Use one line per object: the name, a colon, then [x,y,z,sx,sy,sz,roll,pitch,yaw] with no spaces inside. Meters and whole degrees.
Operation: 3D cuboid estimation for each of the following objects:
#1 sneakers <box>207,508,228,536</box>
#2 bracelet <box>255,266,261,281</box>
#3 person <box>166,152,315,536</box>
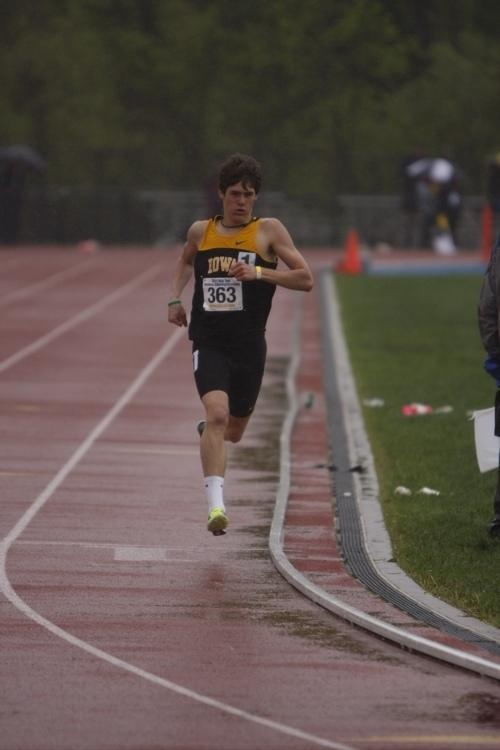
sneakers: [-0.154,0.670,4.406,0.070,0.084,0.171,0,-23,-4]
bracelet: [0.043,-0.504,4.671,0.040,0.049,0.057,-2,19,-2]
person: [-0.031,-0.224,4.904,0.735,1.779,1.220,0,11,-7]
